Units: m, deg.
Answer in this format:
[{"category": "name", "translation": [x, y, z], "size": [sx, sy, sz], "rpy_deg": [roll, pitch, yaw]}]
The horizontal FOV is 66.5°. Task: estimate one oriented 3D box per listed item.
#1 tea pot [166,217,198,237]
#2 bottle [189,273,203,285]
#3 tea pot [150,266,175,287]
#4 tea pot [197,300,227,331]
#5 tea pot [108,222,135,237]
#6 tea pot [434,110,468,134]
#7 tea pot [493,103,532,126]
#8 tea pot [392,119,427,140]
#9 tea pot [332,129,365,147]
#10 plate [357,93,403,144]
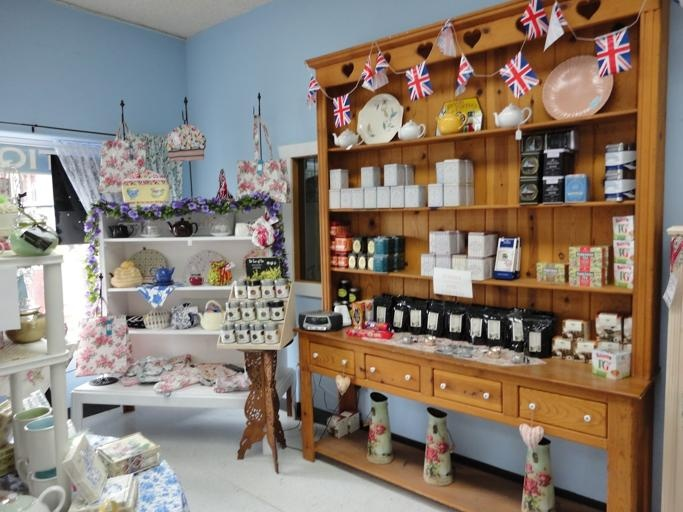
[{"category": "tea pot", "translation": [-1.310, -0.224, 4.321], "size": [0.228, 0.141, 0.152], "rpy_deg": [2, 12, 2]}, {"category": "bottle", "translation": [-1.195, 0.197, 4.282], "size": [0.093, 0.094, 0.093], "rpy_deg": [-2, 8, -23]}, {"category": "tea pot", "translation": [-1.484, 0.170, 4.284], "size": [0.173, 0.173, 0.136], "rpy_deg": [-1, -9, 2]}, {"category": "tea pot", "translation": [-1.060, 0.480, 4.247], "size": [0.287, 0.295, 0.214], "rpy_deg": [1, 0, 19]}, {"category": "tea pot", "translation": [-1.837, -0.212, 4.332], "size": [0.139, 0.081, 0.103], "rpy_deg": [4, -3, -41]}, {"category": "tea pot", "translation": [0.701, -0.853, 3.334], "size": [0.170, 0.164, 0.129], "rpy_deg": [4, 9, 19]}, {"category": "tea pot", "translation": [1.036, -0.853, 3.175], "size": [0.208, 0.143, 0.146], "rpy_deg": [8, 17, 33]}, {"category": "tea pot", "translation": [0.464, -0.858, 3.548], "size": [0.184, 0.133, 0.128], "rpy_deg": [9, 16, 34]}, {"category": "tea pot", "translation": [0.051, -0.863, 3.802], "size": [0.196, 0.130, 0.137], "rpy_deg": [5, 14, 11]}, {"category": "plate", "translation": [0.278, -0.988, 3.757], "size": [0.062, 0.382, 0.342], "rpy_deg": [-1, 6, -45]}]
